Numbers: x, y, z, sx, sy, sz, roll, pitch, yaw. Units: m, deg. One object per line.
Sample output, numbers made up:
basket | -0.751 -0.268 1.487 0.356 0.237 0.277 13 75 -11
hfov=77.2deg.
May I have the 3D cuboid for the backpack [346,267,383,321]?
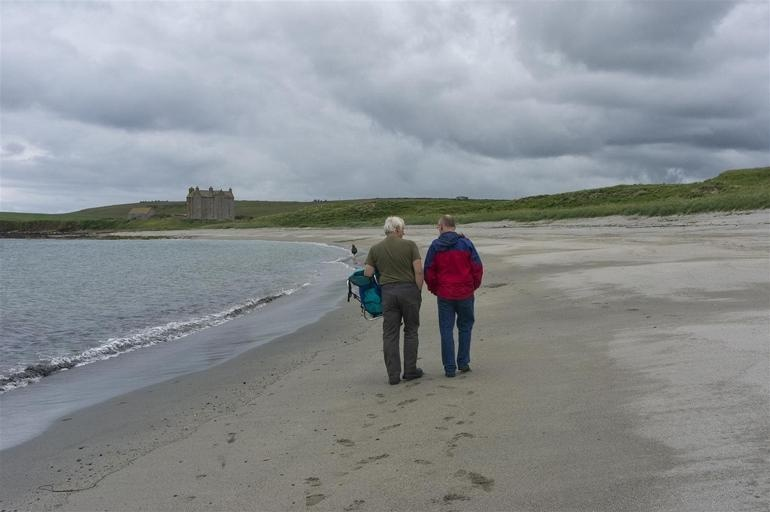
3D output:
backpack | -0.402 0.615 7.758 0.618 0.533 0.420 7 9 19
